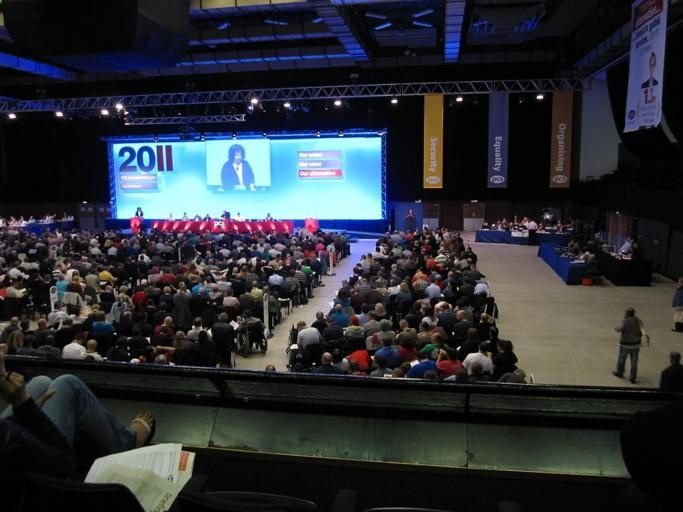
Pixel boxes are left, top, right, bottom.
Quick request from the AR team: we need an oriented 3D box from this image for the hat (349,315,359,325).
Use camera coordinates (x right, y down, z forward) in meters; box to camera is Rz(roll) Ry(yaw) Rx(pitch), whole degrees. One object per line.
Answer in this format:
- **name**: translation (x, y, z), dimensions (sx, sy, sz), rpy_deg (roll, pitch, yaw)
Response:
- **hat**: translation (0.229, 1.151, 9.642), dimensions (0.123, 0.127, 0.156), rpy_deg (-1, 15, -10)

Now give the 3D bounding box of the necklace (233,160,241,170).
- **necklace**: translation (-5.620, -4.888, 28.941), dimensions (0.289, 0.412, 0.144), rpy_deg (2, 2, -1)

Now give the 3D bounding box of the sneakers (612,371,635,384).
- **sneakers**: translation (5.053, 2.177, 9.668), dimensions (0.205, 0.170, 0.438), rpy_deg (4, -4, -31)

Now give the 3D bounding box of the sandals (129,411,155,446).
- **sandals**: translation (-1.253, 1.077, 3.403), dimensions (0.093, 0.103, 0.281), rpy_deg (9, 18, -11)
